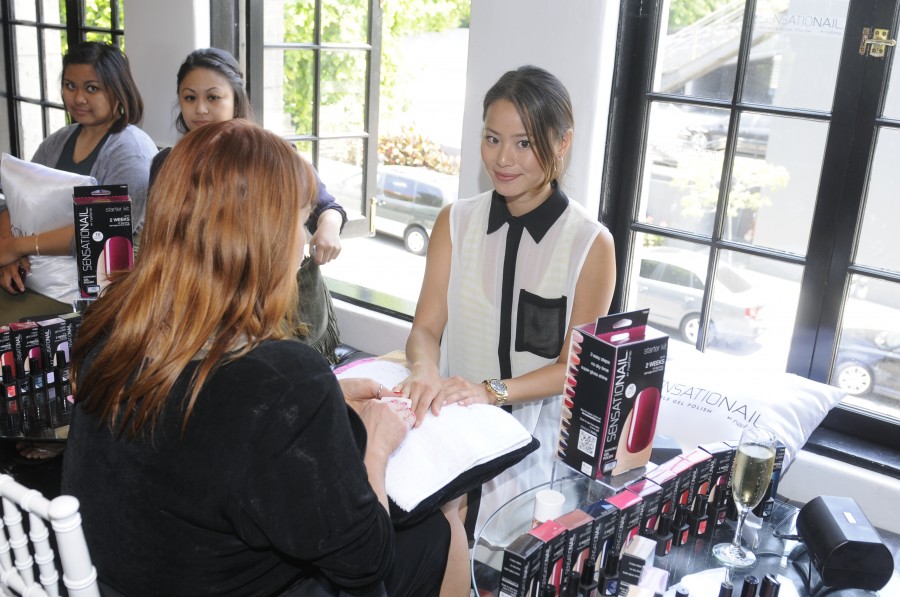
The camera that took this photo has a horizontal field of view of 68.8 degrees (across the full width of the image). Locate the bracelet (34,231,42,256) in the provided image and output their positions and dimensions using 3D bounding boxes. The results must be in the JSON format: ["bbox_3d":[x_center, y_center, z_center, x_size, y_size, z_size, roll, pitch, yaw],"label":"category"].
[{"bbox_3d":[-1.582,-0.199,2.528,0.019,0.080,0.035,-5,15,-31],"label":"bracelet"}]

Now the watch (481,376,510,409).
[{"bbox_3d":[0.145,0.297,2.111,0.061,0.087,0.088,-3,46,-25],"label":"watch"}]

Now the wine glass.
[{"bbox_3d":[0.768,0.498,1.706,0.104,0.374,0.236,11,15,28],"label":"wine glass"}]

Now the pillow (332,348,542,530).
[{"bbox_3d":[-0.007,0.304,1.981,0.613,0.180,0.577,-24,56,-39],"label":"pillow"}]
